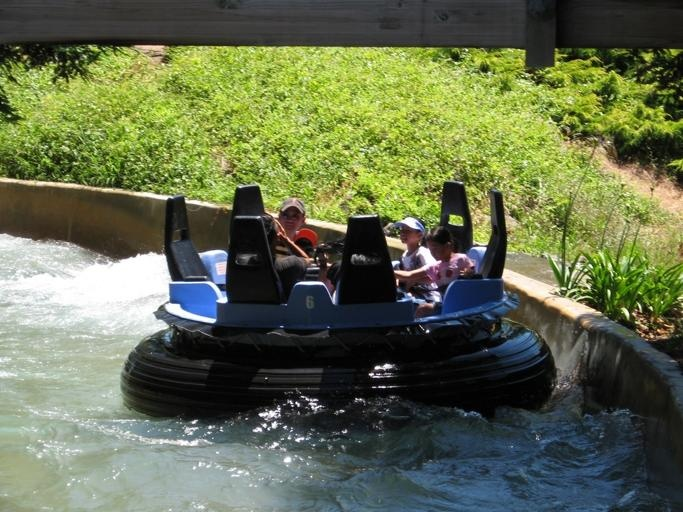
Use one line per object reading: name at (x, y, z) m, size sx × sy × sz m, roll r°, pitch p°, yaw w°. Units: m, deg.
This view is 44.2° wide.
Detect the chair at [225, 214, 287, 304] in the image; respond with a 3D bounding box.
chair at (-0.565, 0.048, 6.710) m, size 0.448 × 0.649 × 0.829 m, roll 1°, pitch 2°, yaw 20°

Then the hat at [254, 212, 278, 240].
hat at (-0.597, -0.239, 6.754) m, size 0.160 × 0.188 × 0.121 m, roll 6°, pitch 17°, yaw 28°

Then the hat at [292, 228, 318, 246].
hat at (-0.302, -0.176, 7.475) m, size 0.144 × 0.184 × 0.065 m, roll 9°, pitch -2°, yaw -27°

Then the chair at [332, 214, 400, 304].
chair at (0.146, 0.050, 6.563) m, size 0.589 × 0.778 × 0.565 m, roll 1°, pitch 14°, yaw 8°

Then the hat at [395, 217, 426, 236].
hat at (0.624, -0.286, 7.501) m, size 0.234 × 0.077 × 0.158 m, roll 26°, pitch -20°, yaw -39°

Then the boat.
boat at (-0.037, 0.567, 6.694) m, size 2.348 × 1.011 × 2.261 m, roll -1°, pitch -2°, yaw 10°
